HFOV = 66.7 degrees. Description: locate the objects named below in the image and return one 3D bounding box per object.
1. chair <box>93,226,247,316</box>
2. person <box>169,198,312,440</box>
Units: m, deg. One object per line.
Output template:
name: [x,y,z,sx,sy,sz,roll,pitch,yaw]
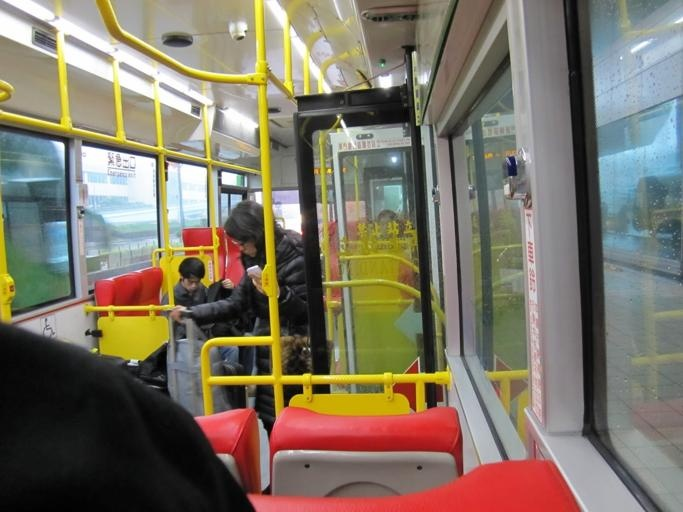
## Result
chair: [-1.611,0.146,5.754,1.148,1.430,0.979,1,1,7]
person: [-0.510,0.500,3.128,0.766,1.555,0.678,-4,-3,25]
